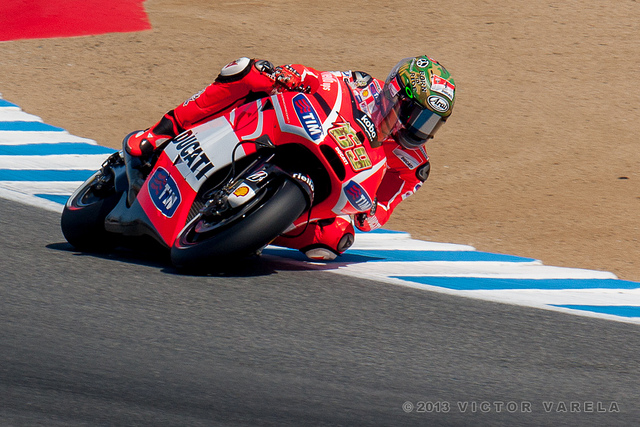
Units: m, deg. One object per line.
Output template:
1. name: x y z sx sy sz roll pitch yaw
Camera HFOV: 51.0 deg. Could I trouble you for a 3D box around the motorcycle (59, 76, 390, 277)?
1. motorcycle: -0.704 -0.213 5.138 2.392 1.282 1.356 -6 50 -7
